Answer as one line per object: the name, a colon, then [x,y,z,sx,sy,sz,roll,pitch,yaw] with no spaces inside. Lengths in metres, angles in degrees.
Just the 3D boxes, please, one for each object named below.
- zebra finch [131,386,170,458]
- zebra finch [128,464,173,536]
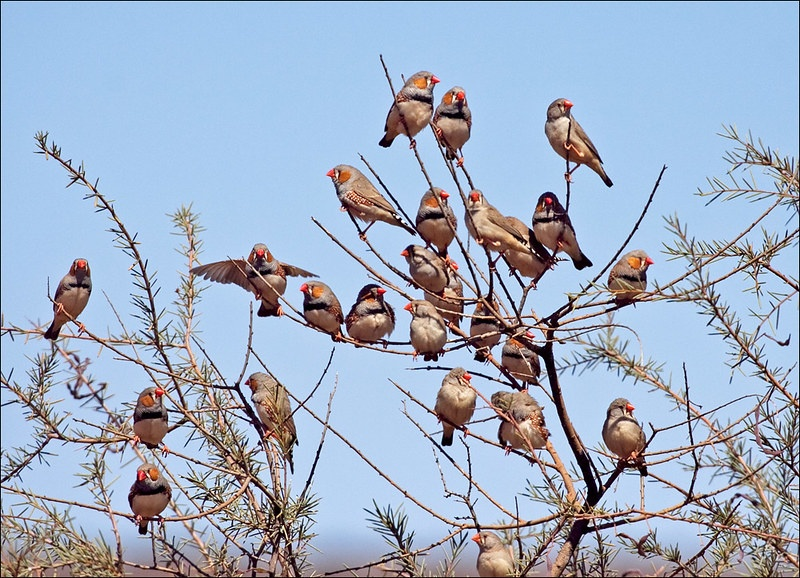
zebra finch: [-2.028,1.046,9.297,0.276,0.559,0.571,3,-87,-15]
zebra finch: [-2.059,1.705,9.457,0.350,0.508,0.751,-1,-17,-8]
